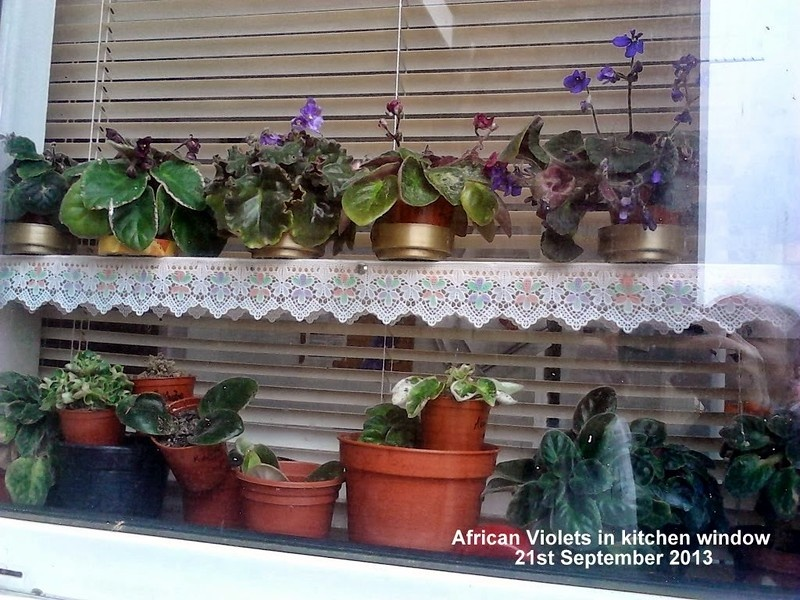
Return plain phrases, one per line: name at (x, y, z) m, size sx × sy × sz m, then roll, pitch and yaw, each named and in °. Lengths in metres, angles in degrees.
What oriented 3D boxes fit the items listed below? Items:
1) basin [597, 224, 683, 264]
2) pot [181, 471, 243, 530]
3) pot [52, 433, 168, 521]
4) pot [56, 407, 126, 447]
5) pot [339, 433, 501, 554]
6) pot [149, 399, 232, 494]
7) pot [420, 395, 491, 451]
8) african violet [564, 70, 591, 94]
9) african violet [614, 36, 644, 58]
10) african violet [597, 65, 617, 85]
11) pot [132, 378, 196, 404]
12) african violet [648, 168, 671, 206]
basin at (0.494, -0.134, 1.484) m, size 0.192 × 0.077 × 0.190 m, roll 1°, pitch 7°, yaw 0°
pot at (-0.426, 0.450, 1.588) m, size 0.149 × 0.123 × 0.156 m, roll -1°, pitch -14°, yaw 0°
pot at (-0.654, 0.406, 1.592) m, size 0.168 × 0.138 × 0.179 m, roll 1°, pitch -16°, yaw 0°
pot at (-0.738, 0.314, 1.668) m, size 0.121 × 0.079 × 0.121 m, roll -17°, pitch -14°, yaw -4°
pot at (0.027, 0.412, 1.460) m, size 0.226 × 0.142 × 0.236 m, roll 5°, pitch -16°, yaw 1°
pot at (-0.459, 0.361, 1.627) m, size 0.144 × 0.119 × 0.145 m, roll 3°, pitch 5°, yaw 0°
pot at (0.117, 0.270, 1.549) m, size 0.160 × 0.107 × 0.166 m, roll 7°, pitch -7°, yaw 1°
african violet at (0.386, -0.481, 1.528) m, size 0.040 × 0.052 × 0.104 m, roll 3°, pitch 3°, yaw 21°
african violet at (0.478, -0.533, 1.467) m, size 0.053 × 0.047 × 0.076 m, roll 4°, pitch 3°, yaw 30°
african violet at (0.452, -0.488, 1.519) m, size 0.044 × 0.036 × 0.097 m, roll 3°, pitch 3°, yaw 18°
pot at (-0.584, 0.223, 1.728) m, size 0.103 × 0.048 × 0.068 m, roll 1°, pitch -3°, yaw -11°
african violet at (0.512, -0.223, 1.385) m, size 0.016 × 0.063 × 0.045 m, roll -2°, pitch 1°, yaw -42°
